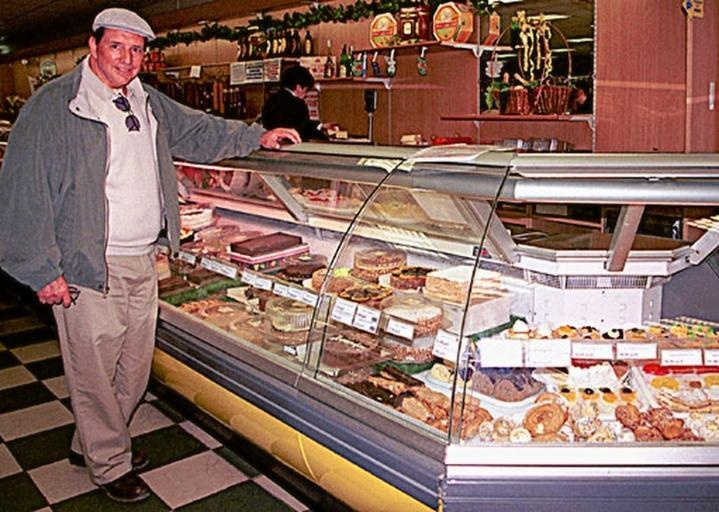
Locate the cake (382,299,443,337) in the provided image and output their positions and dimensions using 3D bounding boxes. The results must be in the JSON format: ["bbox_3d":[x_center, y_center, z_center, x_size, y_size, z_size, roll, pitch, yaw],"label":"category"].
[{"bbox_3d":[0.219,0.258,2.204,0.252,0.084,0.214,8,18,22],"label":"cake"}]

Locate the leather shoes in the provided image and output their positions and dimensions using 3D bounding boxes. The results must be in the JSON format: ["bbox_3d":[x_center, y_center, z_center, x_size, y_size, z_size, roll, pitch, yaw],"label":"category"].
[{"bbox_3d":[-1.214,1.109,2.734,0.524,0.208,0.178,5,9,27],"label":"leather shoes"}]

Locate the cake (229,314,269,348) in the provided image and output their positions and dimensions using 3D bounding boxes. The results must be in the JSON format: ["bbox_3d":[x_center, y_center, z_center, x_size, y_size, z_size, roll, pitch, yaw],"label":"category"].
[{"bbox_3d":[-0.545,0.368,2.658,0.146,0.032,0.145,20,26,37],"label":"cake"}]

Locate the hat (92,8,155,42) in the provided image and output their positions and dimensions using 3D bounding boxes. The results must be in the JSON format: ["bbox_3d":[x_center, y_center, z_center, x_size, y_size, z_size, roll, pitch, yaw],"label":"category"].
[{"bbox_3d":[-1.032,-1.022,2.372,0.219,0.075,0.186,17,21,12],"label":"hat"}]

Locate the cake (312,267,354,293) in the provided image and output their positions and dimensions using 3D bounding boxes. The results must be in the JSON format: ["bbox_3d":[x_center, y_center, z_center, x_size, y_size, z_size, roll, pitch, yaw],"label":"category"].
[{"bbox_3d":[-0.129,0.128,2.419,0.149,0.035,0.143,-7,23,-27],"label":"cake"}]

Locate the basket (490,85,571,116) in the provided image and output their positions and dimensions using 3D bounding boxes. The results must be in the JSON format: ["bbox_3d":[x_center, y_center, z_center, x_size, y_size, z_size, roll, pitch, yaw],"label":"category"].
[{"bbox_3d":[1.553,-1.398,4.884,0.691,0.273,0.416,9,19,25],"label":"basket"}]

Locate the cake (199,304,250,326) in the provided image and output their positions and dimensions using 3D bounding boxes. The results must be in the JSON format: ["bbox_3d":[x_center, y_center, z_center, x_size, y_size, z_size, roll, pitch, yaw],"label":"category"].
[{"bbox_3d":[-0.721,0.307,2.850,0.196,0.035,0.143,17,24,39],"label":"cake"}]

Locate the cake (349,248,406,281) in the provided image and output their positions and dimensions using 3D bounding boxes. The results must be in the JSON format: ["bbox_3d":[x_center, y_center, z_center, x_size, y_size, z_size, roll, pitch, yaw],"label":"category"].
[{"bbox_3d":[0.078,0.013,2.497,0.184,0.099,0.184,6,13,33],"label":"cake"}]
